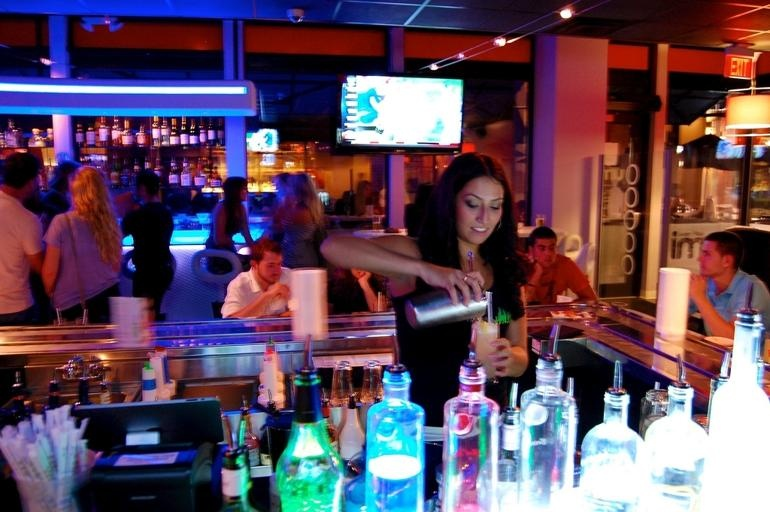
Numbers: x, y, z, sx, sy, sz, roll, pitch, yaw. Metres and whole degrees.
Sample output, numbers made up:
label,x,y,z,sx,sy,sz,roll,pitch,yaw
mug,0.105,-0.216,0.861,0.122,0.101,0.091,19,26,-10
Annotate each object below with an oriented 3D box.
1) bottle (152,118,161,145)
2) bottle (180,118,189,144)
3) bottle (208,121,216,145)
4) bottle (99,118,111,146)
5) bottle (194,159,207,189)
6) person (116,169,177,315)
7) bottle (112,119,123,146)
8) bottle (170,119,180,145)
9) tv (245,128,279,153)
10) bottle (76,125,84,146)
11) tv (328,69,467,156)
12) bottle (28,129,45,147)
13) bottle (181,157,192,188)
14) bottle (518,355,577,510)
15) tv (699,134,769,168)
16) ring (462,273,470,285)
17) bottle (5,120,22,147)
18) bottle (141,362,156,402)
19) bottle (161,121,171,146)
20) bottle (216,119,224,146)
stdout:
label,x,y,z,sx,sy,sz,roll,pitch,yaw
bottle,-2.442,-1.330,7.114,0.088,0.287,0.139,-6,7,-29
bottle,-2.135,-1.345,7.108,0.092,0.285,0.133,-4,6,-9
bottle,-1.848,-1.312,7.126,0.101,0.240,0.091,-4,6,-8
bottle,-2.943,-1.317,7.007,0.123,0.273,0.181,-5,6,-21
bottle,-2.008,-0.889,7.225,0.153,0.308,0.096,-3,6,-4
person,-1.983,-0.072,5.630,0.402,1.314,1.351,-5,6,-20
bottle,-2.827,-1.324,7.035,0.109,0.281,0.116,-3,6,0
bottle,-2.250,-1.341,7.110,0.111,0.276,0.111,-3,6,0
tv,-1.423,-1.381,7.863,0.253,0.307,0.503,-1,6,15
bottle,-3.194,-1.280,6.995,0.097,0.190,0.088,-5,6,-23
tv,0.143,-1.345,6.305,1.227,0.702,0.165,-4,6,-16
bottle,-3.588,-1.230,6.908,0.148,0.187,0.174,1,7,33
bottle,-2.161,-0.902,7.234,0.121,0.287,0.083,-3,6,-4
bottle,0.579,0.632,2.415,0.197,0.554,0.089,-2,6,11
tv,4.077,-1.268,8.112,1.297,0.451,0.507,-6,7,-32
ring,0.343,0.088,2.814,0.028,0.033,0.034,-2,6,11
bottle,-3.790,-1.253,6.821,0.142,0.283,0.164,-4,6,-14
bottle,-1.163,0.600,3.278,0.073,0.179,0.185,-5,6,-21
bottle,-2.336,-1.323,7.100,0.098,0.255,0.068,-3,6,-4
bottle,-1.753,-1.337,7.131,0.113,0.290,0.047,0,7,27
